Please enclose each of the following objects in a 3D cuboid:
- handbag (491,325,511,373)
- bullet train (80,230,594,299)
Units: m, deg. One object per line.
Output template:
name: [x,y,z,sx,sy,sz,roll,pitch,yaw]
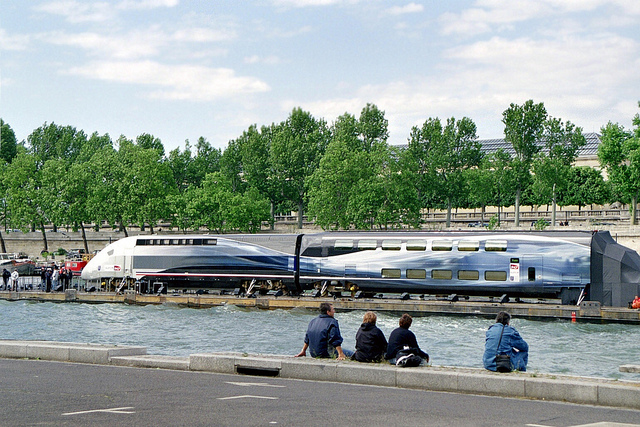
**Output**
handbag: [10.463,7.932,67.472,0.745,2.192,0.770,-11,14,-36]
bullet train: [2.434,4.211,95.664,38.179,5.487,1.493,0,12,18]
